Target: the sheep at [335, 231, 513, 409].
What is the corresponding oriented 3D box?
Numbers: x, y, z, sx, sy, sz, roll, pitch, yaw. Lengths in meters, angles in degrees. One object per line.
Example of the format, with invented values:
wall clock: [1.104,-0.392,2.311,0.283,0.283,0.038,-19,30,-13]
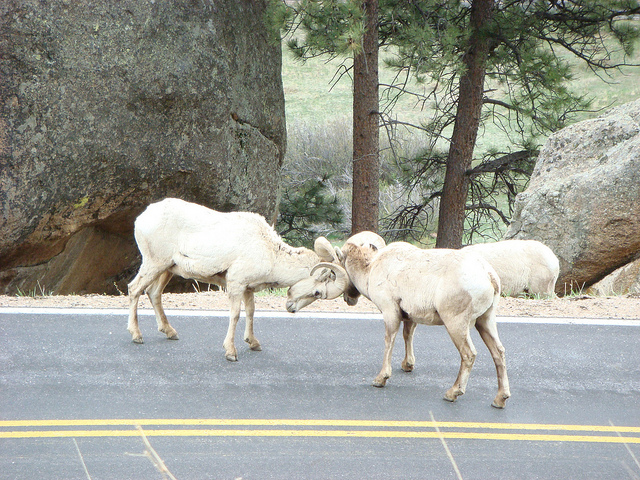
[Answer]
sheep: [1.705,0.810,19.103,3.860,3.184,1.555,8,12,41]
